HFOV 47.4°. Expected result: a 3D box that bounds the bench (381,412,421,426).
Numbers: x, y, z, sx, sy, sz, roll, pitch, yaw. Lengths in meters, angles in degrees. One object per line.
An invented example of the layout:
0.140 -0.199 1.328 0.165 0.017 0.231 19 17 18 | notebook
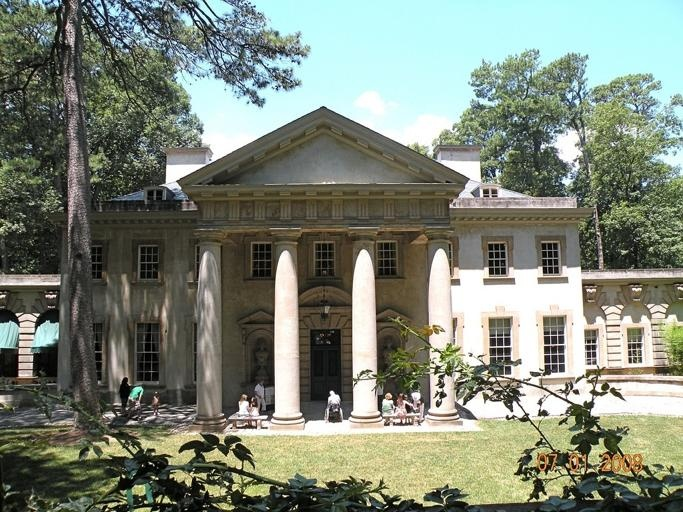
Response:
3.043 8.103 38.888 1.920 0.697 1.020 2 12 3 | bench

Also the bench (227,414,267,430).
-4.730 8.177 38.587 1.968 0.829 0.873 1 12 0 | bench

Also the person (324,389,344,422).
-0.369 7.616 39.371 0.983 1.453 1.173 1 12 0 | person
